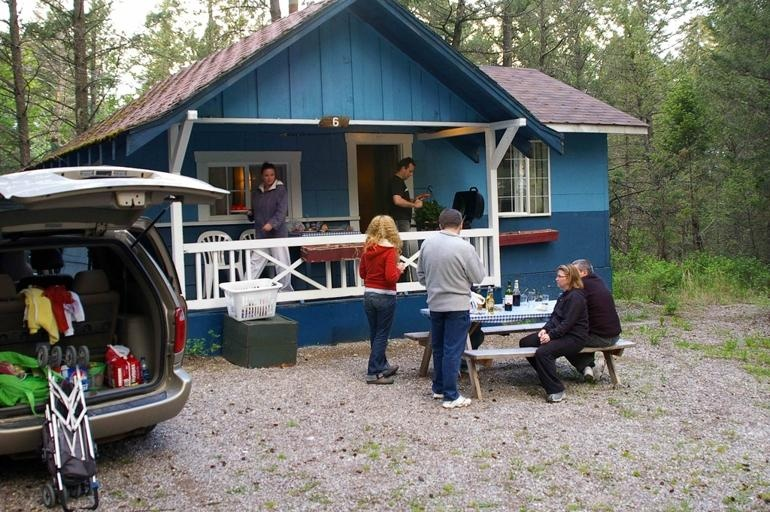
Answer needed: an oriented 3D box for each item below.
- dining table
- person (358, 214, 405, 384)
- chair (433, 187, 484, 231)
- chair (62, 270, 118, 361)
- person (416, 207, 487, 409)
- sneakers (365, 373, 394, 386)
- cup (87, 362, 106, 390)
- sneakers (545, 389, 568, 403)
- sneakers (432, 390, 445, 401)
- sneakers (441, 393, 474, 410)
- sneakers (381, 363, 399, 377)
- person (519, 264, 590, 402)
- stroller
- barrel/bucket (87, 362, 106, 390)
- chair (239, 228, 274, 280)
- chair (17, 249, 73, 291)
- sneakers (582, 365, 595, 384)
[{"bbox_3d":[1.496,1.094,9.372,1.445,0.694,1.262,-2,4,-25],"label":"dining table"},{"bbox_3d":[-0.049,0.589,9.198,0.587,2.248,0.434,-1,7,-3],"label":"person"},{"bbox_3d":[1.493,-0.924,12.996,0.638,1.217,0.830,-4,5,-29],"label":"chair"},{"bbox_3d":[-3.169,0.601,7.460,0.668,0.988,0.828,-1,7,-26],"label":"chair"},{"bbox_3d":[0.869,0.611,8.650,0.638,2.396,0.753,-4,8,-31],"label":"person"},{"bbox_3d":[-0.068,1.659,9.272,0.402,0.181,0.141,-2,0,-2],"label":"sneakers"},{"bbox_3d":[-3.092,1.279,7.263,0.183,0.219,0.220,4,-4,-2],"label":"cup"},{"bbox_3d":[2.172,1.772,8.597,0.257,0.127,0.104,3,-6,-43],"label":"sneakers"},{"bbox_3d":[0.672,1.767,8.660,0.113,0.093,0.088,-1,-4,35],"label":"sneakers"},{"bbox_3d":[0.914,1.804,8.493,0.364,0.179,0.141,-2,3,-13],"label":"sneakers"},{"bbox_3d":[0.070,1.598,9.508,0.304,0.141,0.102,-27,-6,-38],"label":"sneakers"},{"bbox_3d":[2.277,0.954,8.823,0.520,1.646,0.839,5,8,36],"label":"person"},{"bbox_3d":[-3.084,1.713,6.588,0.545,1.851,0.512,4,-31,-33],"label":"stroller"},{"bbox_3d":[-3.079,1.281,7.266,0.183,0.219,0.220,4,-4,-2],"label":"barrel/bucket"},{"bbox_3d":[-2.400,-0.241,12.620,0.511,0.690,0.503,-1,1,-30],"label":"chair"},{"bbox_3d":[-4.276,0.163,8.463,0.525,0.521,0.277,0,5,-23],"label":"chair"},{"bbox_3d":[2.782,1.592,9.355,0.193,0.198,0.206,-6,29,12],"label":"sneakers"}]
